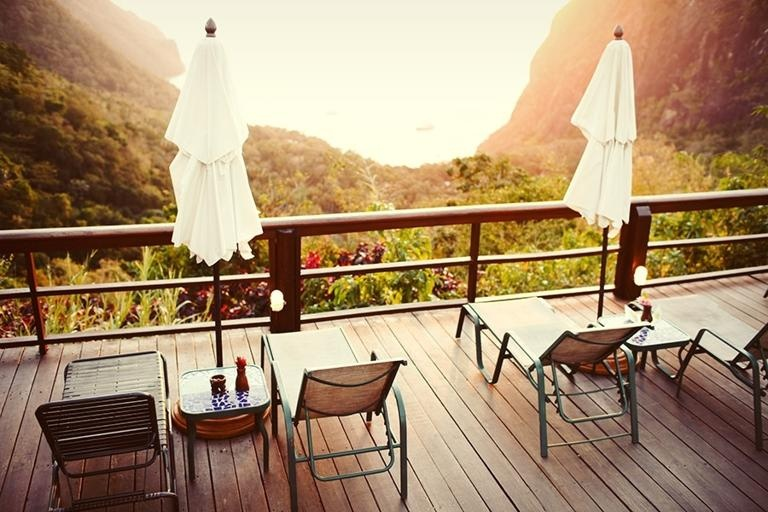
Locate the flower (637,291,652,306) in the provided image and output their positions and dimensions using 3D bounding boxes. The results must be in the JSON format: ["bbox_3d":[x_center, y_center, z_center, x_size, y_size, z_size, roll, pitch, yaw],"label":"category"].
[{"bbox_3d":[2.876,0.470,5.857,0.112,0.112,0.114,-10,3,-28],"label":"flower"}]

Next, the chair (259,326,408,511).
[{"bbox_3d":[-0.496,1.070,4.525,0.801,1.080,1.654,-3,28,-18],"label":"chair"}]

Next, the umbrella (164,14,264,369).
[{"bbox_3d":[-1.464,-0.915,4.451,0.740,2.030,0.444,-7,18,-23],"label":"umbrella"}]

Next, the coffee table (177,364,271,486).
[{"bbox_3d":[-1.350,1.407,4.500,0.791,0.679,0.791,-2,39,-17],"label":"coffee table"}]

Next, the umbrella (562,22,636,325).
[{"bbox_3d":[2.221,-0.737,5.485,0.639,3.071,0.803,8,18,25],"label":"umbrella"}]

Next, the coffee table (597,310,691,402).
[{"bbox_3d":[2.533,0.938,5.239,0.676,0.474,0.696,-16,32,-21],"label":"coffee table"}]
